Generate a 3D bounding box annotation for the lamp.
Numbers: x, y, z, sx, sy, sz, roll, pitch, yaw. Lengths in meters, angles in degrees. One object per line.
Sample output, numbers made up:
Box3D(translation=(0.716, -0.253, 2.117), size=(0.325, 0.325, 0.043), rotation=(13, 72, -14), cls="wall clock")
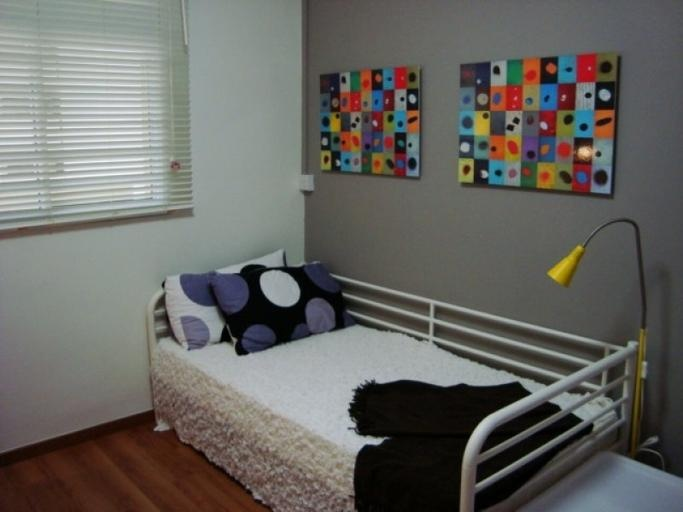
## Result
Box3D(translation=(1.126, 0.358, 2.203), size=(0.401, 1.039, 0.523), rotation=(11, 19, 34), cls="lamp")
